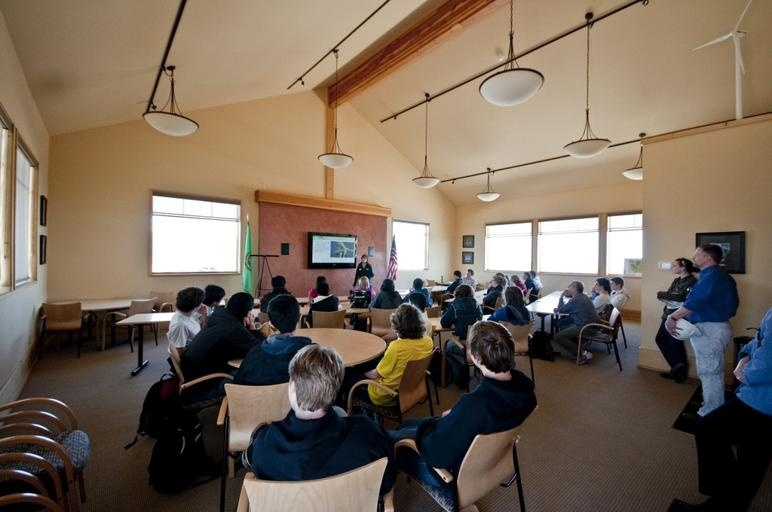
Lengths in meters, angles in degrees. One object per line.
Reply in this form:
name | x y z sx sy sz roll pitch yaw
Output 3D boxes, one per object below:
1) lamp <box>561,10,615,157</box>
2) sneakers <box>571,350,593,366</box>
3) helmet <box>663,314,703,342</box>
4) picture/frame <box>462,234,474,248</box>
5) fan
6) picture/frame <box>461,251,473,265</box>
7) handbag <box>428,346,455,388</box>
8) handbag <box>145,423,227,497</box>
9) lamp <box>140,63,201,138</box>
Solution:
lamp | 3.418 -2.705 8.647 0.601 2.493 2.627 0 -2 23
sneakers | 3.217 1.669 8.375 0.171 0.134 0.487 10 -5 32
helmet | 4.036 1.025 6.991 0.313 0.235 0.312 29 -14 23
picture/frame | 2.293 -0.422 14.442 0.041 0.318 0.368 0 2 -43
fan | 5.242 -2.830 7.888 0.611 1.806 0.973 0 -2 35
picture/frame | 2.276 0.057 14.463 0.035 0.357 0.354 -2 5 -41
handbag | 0.780 1.621 7.382 0.640 0.594 0.148 -3 -4 36
handbag | -2.384 2.392 6.113 0.611 0.826 0.864 -12 -28 44
lamp | -3.142 -2.349 7.535 0.682 0.897 0.729 17 16 21
